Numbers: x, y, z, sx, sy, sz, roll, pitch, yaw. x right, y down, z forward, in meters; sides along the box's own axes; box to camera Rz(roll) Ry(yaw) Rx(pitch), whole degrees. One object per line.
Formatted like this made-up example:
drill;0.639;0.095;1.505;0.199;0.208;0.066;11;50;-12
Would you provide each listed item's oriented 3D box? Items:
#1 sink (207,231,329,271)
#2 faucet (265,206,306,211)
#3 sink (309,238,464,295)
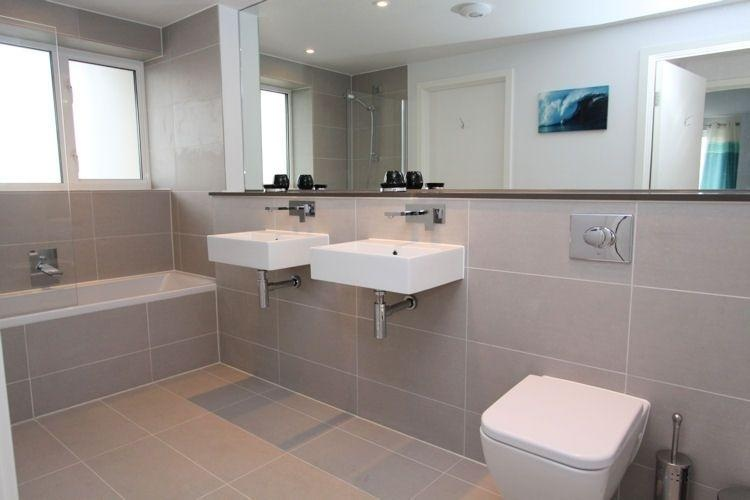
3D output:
sink;-0.752;0.040;3.618;0.800;0.303;0.435;6;13;34
faucet;-0.623;-0.288;3.695;0.314;0.053;0.043;-1;3;-24
sink;0.057;0.097;3.054;0.804;0.244;0.475;6;13;34
